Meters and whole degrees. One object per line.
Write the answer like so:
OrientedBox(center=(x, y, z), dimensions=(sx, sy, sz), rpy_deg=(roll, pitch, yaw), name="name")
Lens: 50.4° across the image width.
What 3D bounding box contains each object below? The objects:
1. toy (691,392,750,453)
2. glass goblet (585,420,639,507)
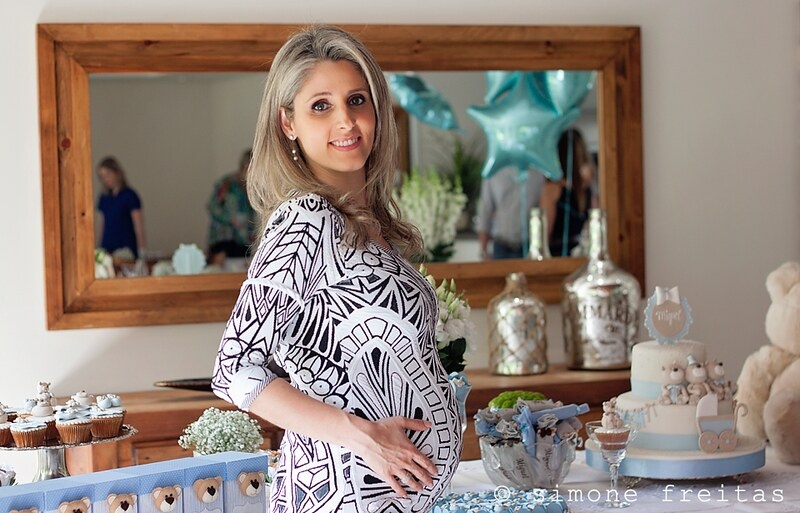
OrientedBox(center=(1.207, 0.612, 3.185), dimensions=(0.215, 0.217, 0.077), rpy_deg=(-4, -2, -29), name="toy")
OrientedBox(center=(0.776, 0.731, 3.074), dimensions=(0.143, 0.273, 0.236), rpy_deg=(-6, -3, 22), name="glass goblet")
